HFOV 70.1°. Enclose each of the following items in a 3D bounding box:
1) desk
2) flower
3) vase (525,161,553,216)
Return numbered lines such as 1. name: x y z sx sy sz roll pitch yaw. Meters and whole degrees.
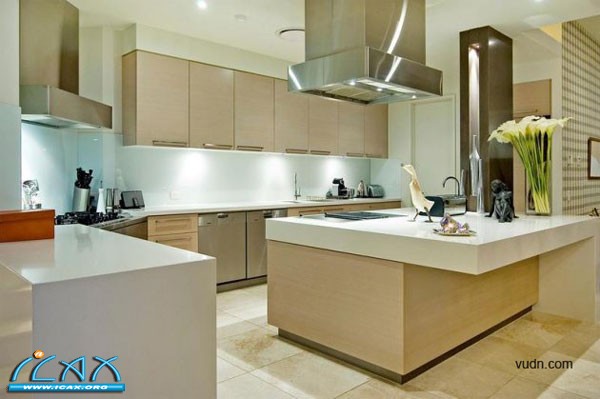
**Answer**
1. desk: 0.852 0.722 3.615 2.212 0.856 1.549 -2 2 -45
2. flower: 2.393 -0.346 4.733 1.018 1.129 0.898 -3 3 -43
3. vase: 2.329 -0.115 4.350 0.366 0.510 0.351 0 2 33
